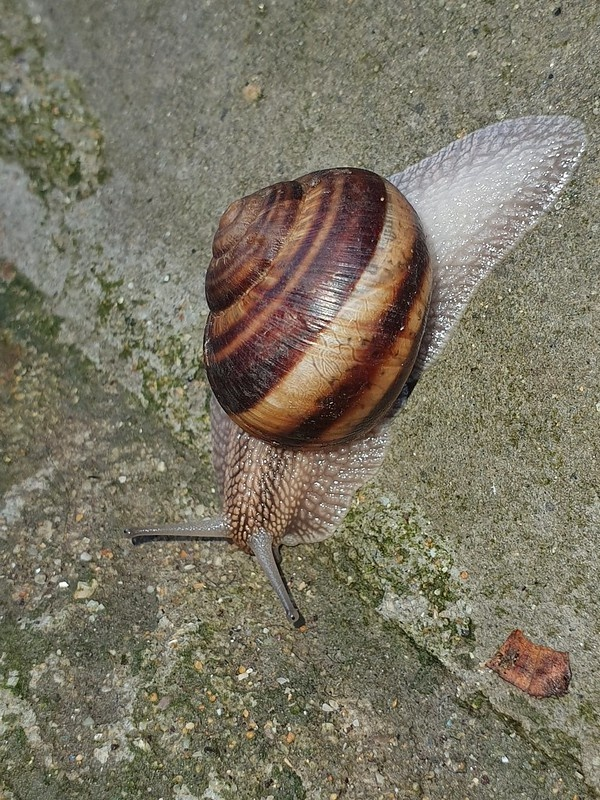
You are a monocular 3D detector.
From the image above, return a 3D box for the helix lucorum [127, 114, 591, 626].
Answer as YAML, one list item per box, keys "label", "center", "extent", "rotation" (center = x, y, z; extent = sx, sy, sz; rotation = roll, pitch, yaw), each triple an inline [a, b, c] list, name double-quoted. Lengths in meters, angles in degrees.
- label: "helix lucorum"
  center: [0.095, -0.217, 2.542]
  extent: [0.754, 0.673, 1.595]
  rotation: [32, 81, 3]
